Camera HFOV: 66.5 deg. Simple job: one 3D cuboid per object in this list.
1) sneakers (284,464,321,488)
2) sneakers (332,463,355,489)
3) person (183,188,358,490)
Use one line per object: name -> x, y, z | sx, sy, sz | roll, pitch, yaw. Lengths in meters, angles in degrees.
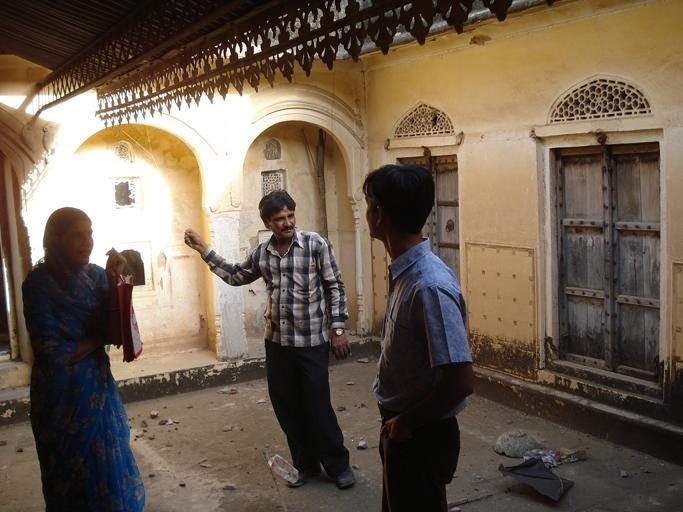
sneakers -> -0.361, 1.979, 4.719 | 0.115, 0.146, 0.305 | -5, -5, 42
sneakers -> 0.042, 1.977, 4.613 | 0.165, 0.152, 0.086 | -5, 7, -36
person -> -0.465, 0.748, 4.676 | 1.129, 2.660, 0.511 | -1, 5, 0
